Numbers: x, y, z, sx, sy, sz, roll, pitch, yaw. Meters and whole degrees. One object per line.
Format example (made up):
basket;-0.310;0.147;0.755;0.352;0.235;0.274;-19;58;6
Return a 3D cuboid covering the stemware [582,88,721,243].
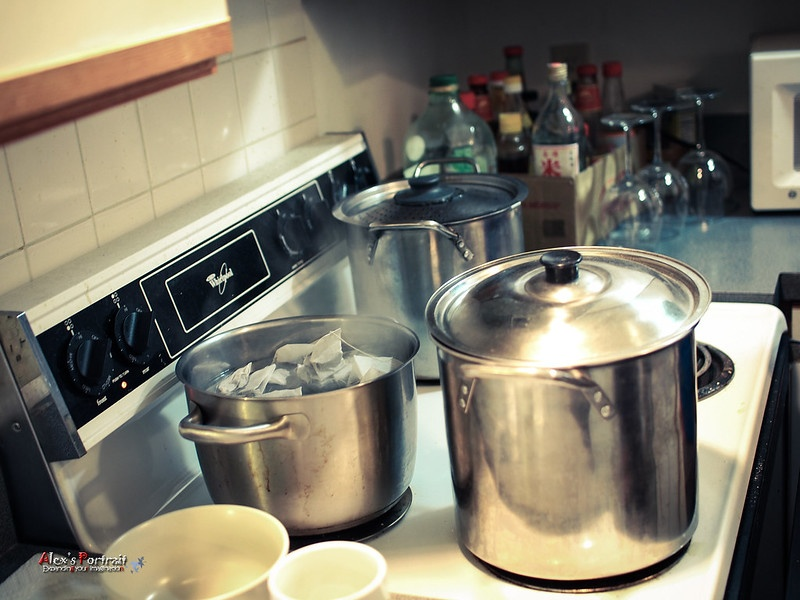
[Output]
stemware;0.598;-0.359;1.807;0.334;0.471;0.282;-9;17;-6

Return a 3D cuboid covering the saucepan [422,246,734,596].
saucepan;0.204;0.116;0.860;0.340;0.334;0.373;1;21;28

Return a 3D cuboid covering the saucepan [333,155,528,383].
saucepan;0.108;0.005;1.290;0.314;0.333;0.451;0;21;17

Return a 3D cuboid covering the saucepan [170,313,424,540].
saucepan;-0.131;0.170;1.001;0.307;0.213;0.379;-4;16;0

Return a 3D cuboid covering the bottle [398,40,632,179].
bottle;0.239;-0.346;1.590;0.382;0.336;0.133;-4;5;5

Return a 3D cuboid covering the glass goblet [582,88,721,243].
glass goblet;0.590;-0.360;1.823;0.334;0.471;0.282;-9;17;-6

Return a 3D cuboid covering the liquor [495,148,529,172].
liquor;0.266;-0.314;1.617;0.056;0.059;0.060;0;9;5

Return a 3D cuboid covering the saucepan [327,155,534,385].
saucepan;0.055;-0.070;1.286;0.315;0.331;0.451;0;20;12

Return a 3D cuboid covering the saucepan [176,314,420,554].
saucepan;-0.127;0.170;0.997;0.308;0.214;0.347;-9;17;-13
